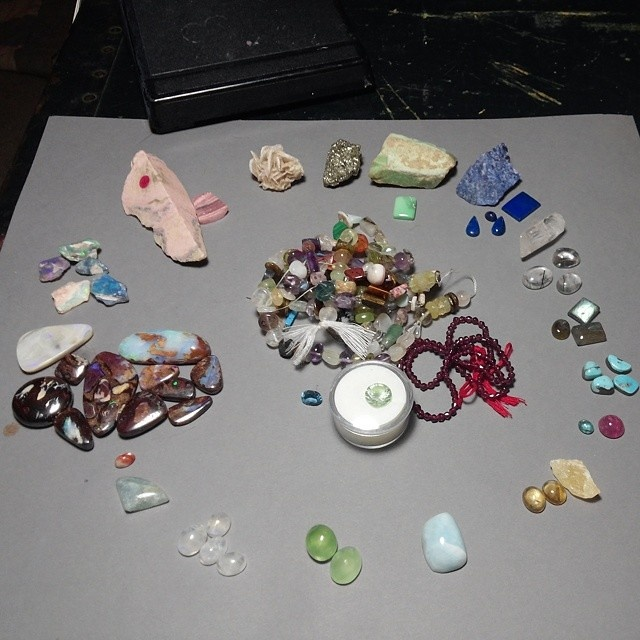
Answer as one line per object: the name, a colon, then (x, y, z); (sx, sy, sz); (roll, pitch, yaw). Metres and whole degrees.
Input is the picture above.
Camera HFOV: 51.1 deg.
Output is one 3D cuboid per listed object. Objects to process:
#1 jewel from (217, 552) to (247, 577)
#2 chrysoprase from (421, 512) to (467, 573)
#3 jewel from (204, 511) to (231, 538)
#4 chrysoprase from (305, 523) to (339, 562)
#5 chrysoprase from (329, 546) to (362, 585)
jewel: (-0.157, 0.440, 1.199); (0.053, 0.026, 0.036); (10, 51, -7)
chrysoprase: (0.216, 0.395, 1.186); (0.076, 0.030, 0.103); (-20, 46, 0)
jewel: (-0.187, 0.381, 1.231); (0.047, 0.022, 0.039); (0, 54, -15)
chrysoprase: (0.003, 0.396, 1.185); (0.051, 0.036, 0.062); (-1, 73, 1)
chrysoprase: (0.047, 0.436, 1.182); (0.057, 0.033, 0.060); (12, 52, -6)
